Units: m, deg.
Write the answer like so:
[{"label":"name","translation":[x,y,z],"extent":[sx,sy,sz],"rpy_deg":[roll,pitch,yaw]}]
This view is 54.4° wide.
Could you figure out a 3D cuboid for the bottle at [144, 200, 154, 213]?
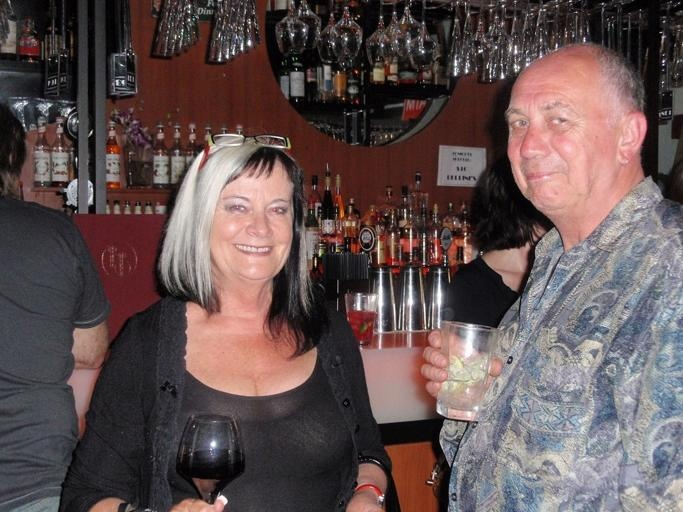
[{"label":"bottle","translation":[-1.366,-0.347,4.678],"extent":[0.075,0.088,0.077],"rpy_deg":[3,5,41]}]

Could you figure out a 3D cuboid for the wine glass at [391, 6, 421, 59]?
[{"label":"wine glass","translation":[0.379,-1.332,3.860],"extent":[0.143,0.343,0.305],"rpy_deg":[-1,12,6]}]

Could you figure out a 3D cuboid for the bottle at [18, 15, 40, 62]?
[{"label":"bottle","translation":[-2.288,-1.593,4.854],"extent":[0.164,0.333,0.316],"rpy_deg":[-7,13,-23]}]

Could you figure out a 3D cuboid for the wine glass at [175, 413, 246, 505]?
[{"label":"wine glass","translation":[-0.357,0.545,1.774],"extent":[0.185,0.210,0.109],"rpy_deg":[-2,11,-3]}]

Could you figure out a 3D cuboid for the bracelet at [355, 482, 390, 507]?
[{"label":"bracelet","translation":[0.089,0.759,2.051],"extent":[0.074,0.021,0.078],"rpy_deg":[33,21,12]}]

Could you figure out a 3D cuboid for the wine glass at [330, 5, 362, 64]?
[{"label":"wine glass","translation":[0.030,-1.233,3.702],"extent":[0.154,0.334,0.273],"rpy_deg":[-1,12,2]}]

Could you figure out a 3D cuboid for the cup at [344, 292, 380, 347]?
[{"label":"cup","translation":[0.083,0.275,2.893],"extent":[0.162,0.272,0.173],"rpy_deg":[-1,-15,0]}]
